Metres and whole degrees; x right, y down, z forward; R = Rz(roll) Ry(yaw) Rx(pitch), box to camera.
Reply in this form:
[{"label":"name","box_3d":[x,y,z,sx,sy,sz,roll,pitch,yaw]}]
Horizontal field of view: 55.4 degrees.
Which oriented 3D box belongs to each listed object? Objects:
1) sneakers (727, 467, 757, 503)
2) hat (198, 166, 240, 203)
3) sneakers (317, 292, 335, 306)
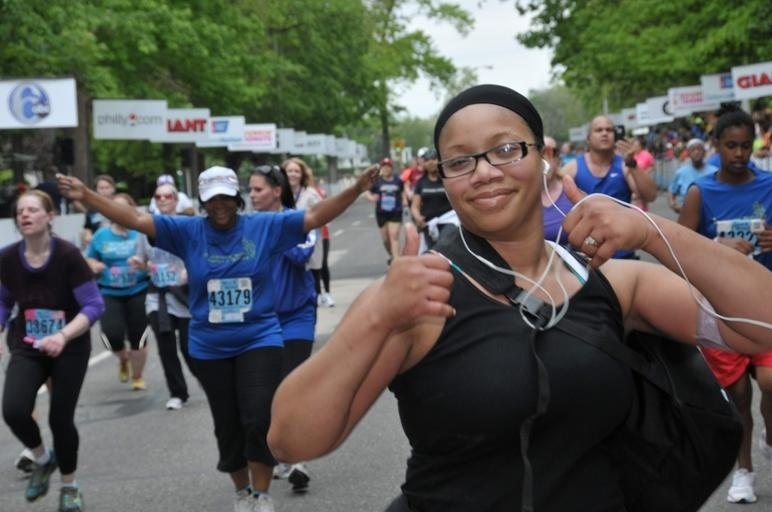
[{"label":"sneakers","box_3d":[2.395,1.558,4.977,0.166,0.386,0.157,-15,50,16]},{"label":"hat","box_3d":[-1.176,-0.507,5.162,0.200,0.181,0.313,-3,-2,-5]},{"label":"sneakers","box_3d":[-0.963,0.721,12.174,0.224,0.218,0.463,0,-4,-21]}]
